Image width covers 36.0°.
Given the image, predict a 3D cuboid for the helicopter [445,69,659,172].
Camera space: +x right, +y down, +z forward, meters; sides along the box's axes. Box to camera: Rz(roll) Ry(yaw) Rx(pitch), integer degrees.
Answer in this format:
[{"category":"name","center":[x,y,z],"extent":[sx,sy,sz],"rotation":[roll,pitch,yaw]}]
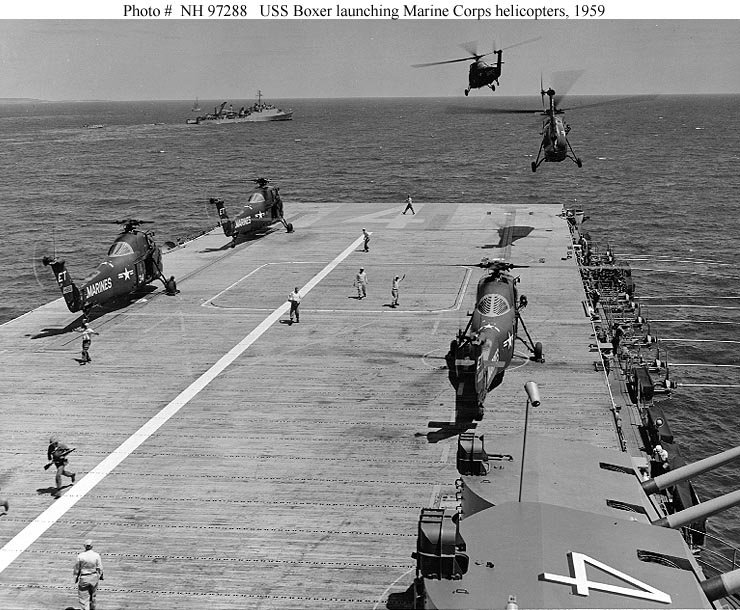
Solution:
[{"category":"helicopter","center":[11.917,-12.007,76.712],"extent":[14.683,4.640,14.580],"rotation":[-6,15,9]}]

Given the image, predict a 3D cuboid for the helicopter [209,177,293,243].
[{"category":"helicopter","center":[-8.609,-6.981,82.692],"extent":[4.384,3.688,10.494],"rotation":[5,16,18]}]

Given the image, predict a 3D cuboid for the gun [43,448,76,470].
[{"category":"gun","center":[-12.559,6.225,46.246],"extent":[1.429,0.422,0.603],"rotation":[-31,10,2]}]
